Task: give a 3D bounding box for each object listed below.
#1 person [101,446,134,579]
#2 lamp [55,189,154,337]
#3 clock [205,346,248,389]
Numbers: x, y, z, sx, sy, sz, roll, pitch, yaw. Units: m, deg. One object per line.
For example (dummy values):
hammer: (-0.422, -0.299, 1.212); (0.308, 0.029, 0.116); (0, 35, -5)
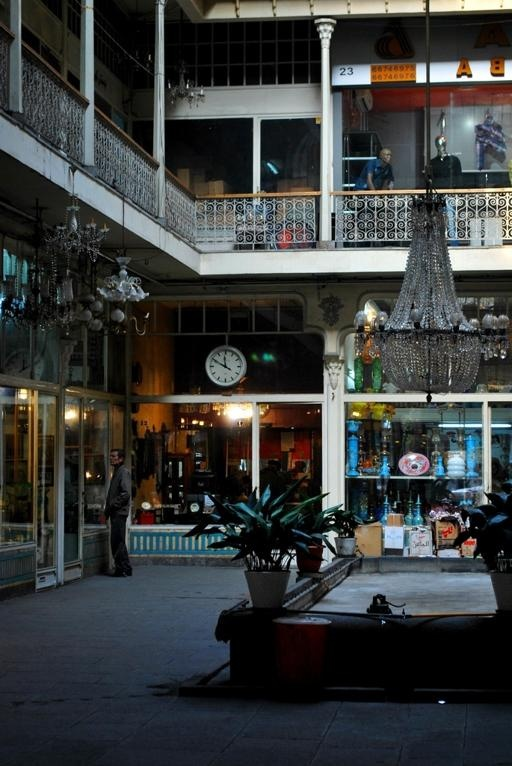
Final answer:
person: (-1.602, 1.487, 10.511); (0.311, 1.450, 0.702); (-2, -4, -9)
lamp: (-1.622, -0.965, 8.247); (0.958, 1.329, 1.132); (0, 3, 2)
clock: (-0.361, -0.213, 11.911); (0.503, 0.594, 0.104); (1, -1, 8)
